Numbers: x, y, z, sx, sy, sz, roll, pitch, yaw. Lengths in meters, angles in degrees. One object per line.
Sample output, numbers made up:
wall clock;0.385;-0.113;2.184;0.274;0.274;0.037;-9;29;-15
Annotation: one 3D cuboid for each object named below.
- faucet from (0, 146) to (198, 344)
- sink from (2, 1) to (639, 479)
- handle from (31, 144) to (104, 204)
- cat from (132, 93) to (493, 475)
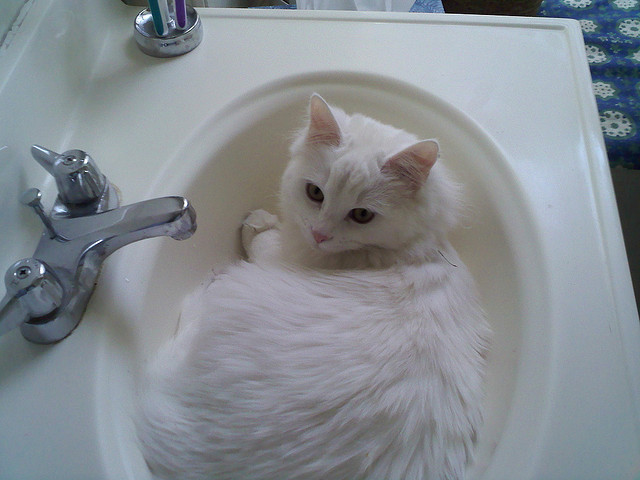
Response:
faucet;-0.372;0.064;1.086;0.293;0.151;0.462;3;53;-1
sink;0.062;0.063;1.495;0.959;0.502;1.164;1;63;6
handle;-0.477;-0.130;1.082;0.126;0.081;0.088;19;49;15
cat;0.025;0.107;1.119;0.648;0.385;0.744;10;61;4
